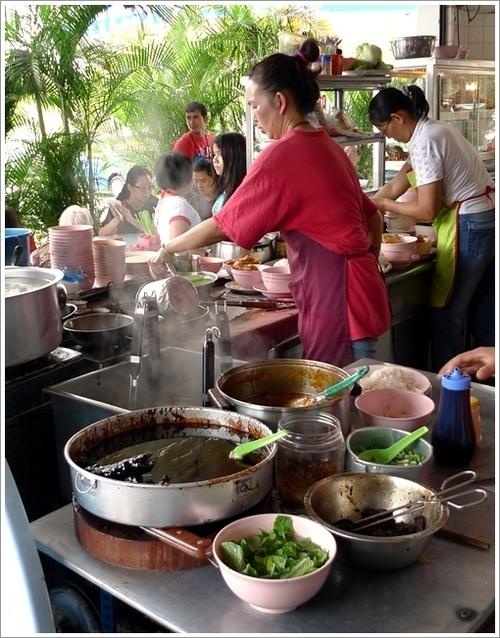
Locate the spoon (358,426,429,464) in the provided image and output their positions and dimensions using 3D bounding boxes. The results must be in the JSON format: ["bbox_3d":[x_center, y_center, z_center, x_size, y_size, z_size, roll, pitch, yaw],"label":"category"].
[{"bbox_3d":[0.290,0.262,1.025,0.123,0.035,0.020,-26,19,-11],"label":"spoon"}]

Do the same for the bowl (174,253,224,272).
[{"bbox_3d":[-0.256,-0.276,2.482,0.195,0.061,0.182,1,5,0],"label":"bowl"}]

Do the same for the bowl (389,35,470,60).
[{"bbox_3d":[1.810,-2.745,5.089,0.561,0.168,0.376,-6,17,-17],"label":"bowl"}]

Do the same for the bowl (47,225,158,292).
[{"bbox_3d":[-0.697,-0.297,2.321,0.249,0.278,0.438,9,11,44],"label":"bowl"}]

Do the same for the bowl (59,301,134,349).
[{"bbox_3d":[-0.529,0.005,1.778,0.183,0.055,0.174,2,13,0],"label":"bowl"}]

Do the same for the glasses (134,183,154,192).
[{"bbox_3d":[-1.059,-1.271,4.805,0.152,0.045,0.150,17,20,35],"label":"glasses"}]

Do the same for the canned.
[{"bbox_3d":[0.106,0.267,0.998,0.134,0.161,0.171,0,6,4],"label":"canned"}]

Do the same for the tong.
[{"bbox_3d":[0.266,0.314,0.856,0.229,0.062,0.029,-15,29,6],"label":"tong"}]

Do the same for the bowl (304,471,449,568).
[{"bbox_3d":[0.196,0.318,0.793,0.213,0.072,0.210,-1,10,0],"label":"bowl"}]

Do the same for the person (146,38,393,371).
[{"bbox_3d":[0.215,-0.479,2.119,0.932,1.395,0.461,-8,12,-25],"label":"person"}]

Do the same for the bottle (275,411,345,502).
[{"bbox_3d":[0.108,0.258,0.994,0.163,0.157,0.154,-1,8,1],"label":"bottle"}]

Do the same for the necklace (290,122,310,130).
[{"bbox_3d":[0.196,-0.744,1.918,0.058,0.039,0.053,-14,23,-25],"label":"necklace"}]

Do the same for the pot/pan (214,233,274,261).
[{"bbox_3d":[-0.037,-0.383,2.736,0.226,0.075,0.170,8,18,22],"label":"pot/pan"}]

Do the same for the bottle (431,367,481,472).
[{"bbox_3d":[0.448,0.216,1.092,0.093,0.215,0.067,-1,11,11],"label":"bottle"}]
